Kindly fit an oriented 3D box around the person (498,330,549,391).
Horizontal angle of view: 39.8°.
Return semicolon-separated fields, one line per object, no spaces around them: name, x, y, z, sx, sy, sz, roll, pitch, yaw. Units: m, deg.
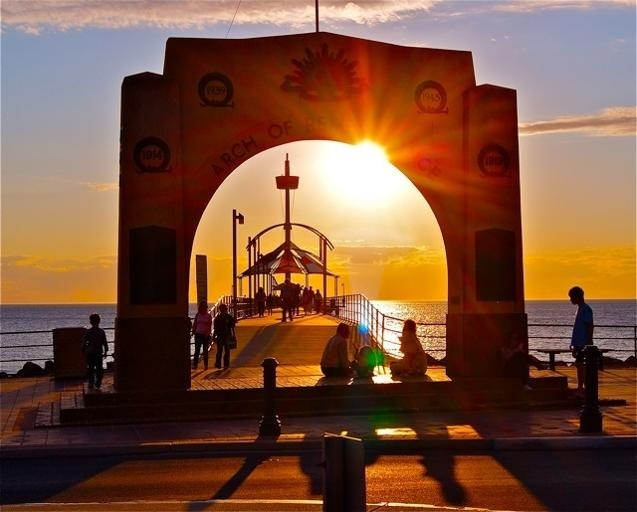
person;4.577;2.384;20.050;0.745;1.240;0.809;-3;-4;14

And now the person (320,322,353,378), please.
person;0.486;2.138;19.872;0.658;1.226;1.004;0;-4;-29
